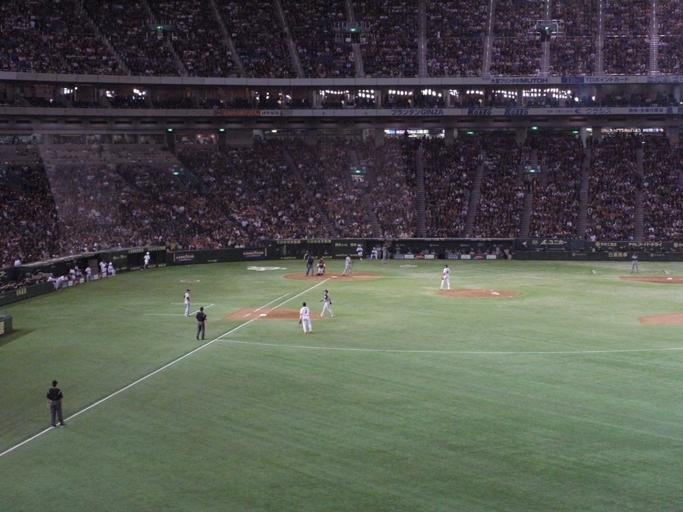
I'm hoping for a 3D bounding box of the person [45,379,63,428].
[{"bbox_3d":[-10.650,5.364,27.331,0.517,1.905,1.350,-6,13,-23],"label":"person"}]
